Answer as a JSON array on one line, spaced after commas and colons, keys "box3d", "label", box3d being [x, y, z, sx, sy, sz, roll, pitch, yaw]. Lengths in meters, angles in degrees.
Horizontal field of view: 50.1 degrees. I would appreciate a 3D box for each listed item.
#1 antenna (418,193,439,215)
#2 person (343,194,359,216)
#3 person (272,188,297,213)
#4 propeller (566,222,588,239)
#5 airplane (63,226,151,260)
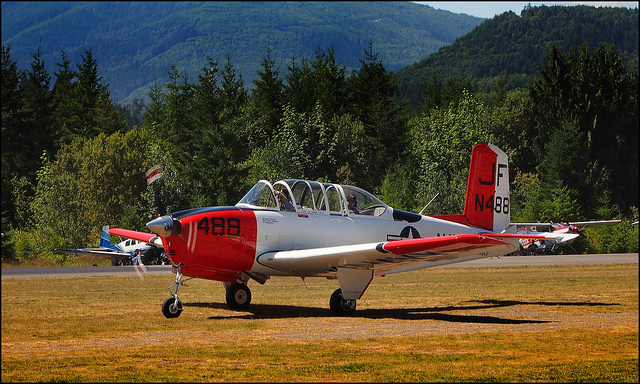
[{"box3d": [11.581, 1.299, 73.307, 3.153, 0.639, 0.408, -42, -36, 19], "label": "antenna"}, {"box3d": [1.872, 0.834, 42.744, 0.891, 1.241, 0.471, 2, -14, -5], "label": "person"}, {"box3d": [-2.111, 0.514, 42.094, 1.404, 1.399, 0.540, 2, 13, 4], "label": "person"}, {"box3d": [24.702, 3.687, 66.565, 2.810, 0.488, 0.479, 33, 35, 18], "label": "propeller"}, {"box3d": [-17.595, 5.156, 62.945, 5.012, 1.985, 7.238, 5, -8, -4], "label": "airplane"}]
